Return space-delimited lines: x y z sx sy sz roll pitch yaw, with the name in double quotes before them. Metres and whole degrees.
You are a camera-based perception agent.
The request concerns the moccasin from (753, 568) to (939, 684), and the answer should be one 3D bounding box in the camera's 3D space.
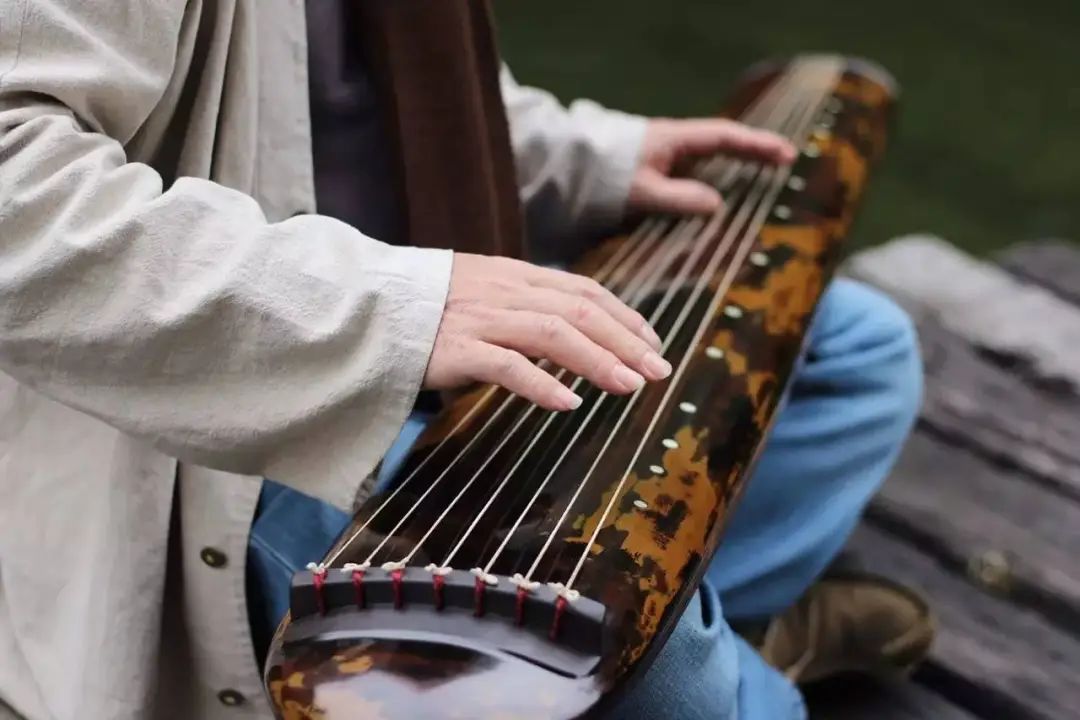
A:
"moccasin" 0.536 0.472 2.019 0.295 0.126 0.166 -14 60 11
